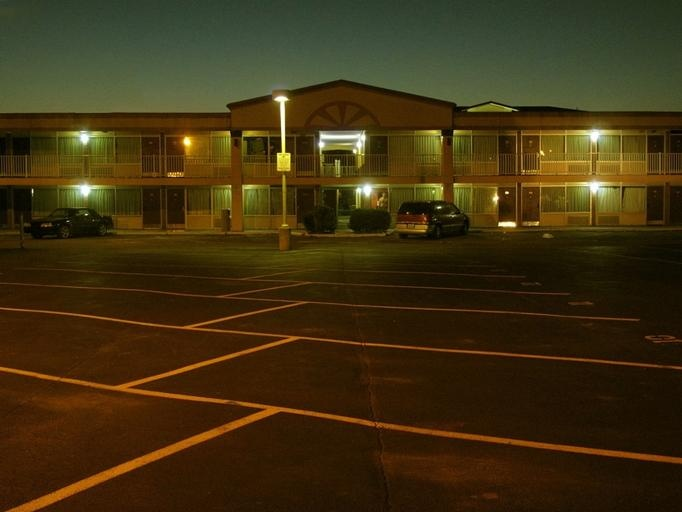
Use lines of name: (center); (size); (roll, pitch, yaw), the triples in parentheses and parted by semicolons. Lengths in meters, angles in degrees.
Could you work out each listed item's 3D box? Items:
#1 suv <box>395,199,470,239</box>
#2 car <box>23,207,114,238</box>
suv: (4.588, -1.864, 31.751); (1.608, 1.353, 3.519); (4, 10, 35)
car: (-14.351, -1.663, 33.787); (1.541, 1.221, 3.606); (-1, 0, 26)
